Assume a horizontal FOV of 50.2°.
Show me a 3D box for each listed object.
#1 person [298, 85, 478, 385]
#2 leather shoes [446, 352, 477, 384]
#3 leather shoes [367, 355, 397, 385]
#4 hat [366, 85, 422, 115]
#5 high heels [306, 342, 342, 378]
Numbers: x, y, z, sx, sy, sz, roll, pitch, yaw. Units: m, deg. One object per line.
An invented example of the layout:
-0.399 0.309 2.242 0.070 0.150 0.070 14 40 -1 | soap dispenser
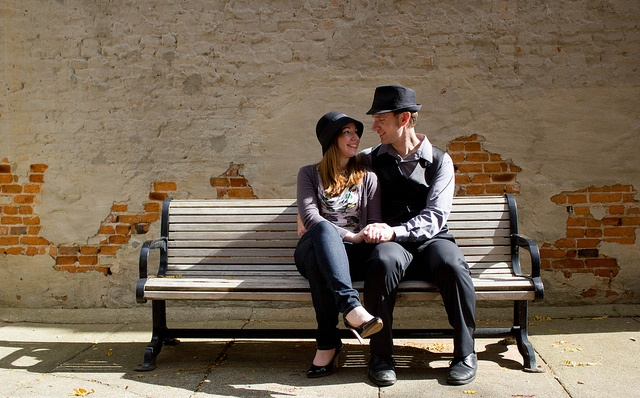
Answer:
0.921 0.283 6.369 1.026 2.719 0.800 -1 3 2 | person
1.311 1.521 6.144 0.354 0.260 0.144 -2 3 -25 | leather shoes
0.563 1.516 6.235 0.264 0.210 0.589 6 6 -1 | leather shoes
0.721 -0.959 6.618 0.639 0.232 0.495 -6 16 -33 | hat
0.083 1.483 6.349 0.160 0.159 0.502 3 18 42 | high heels
